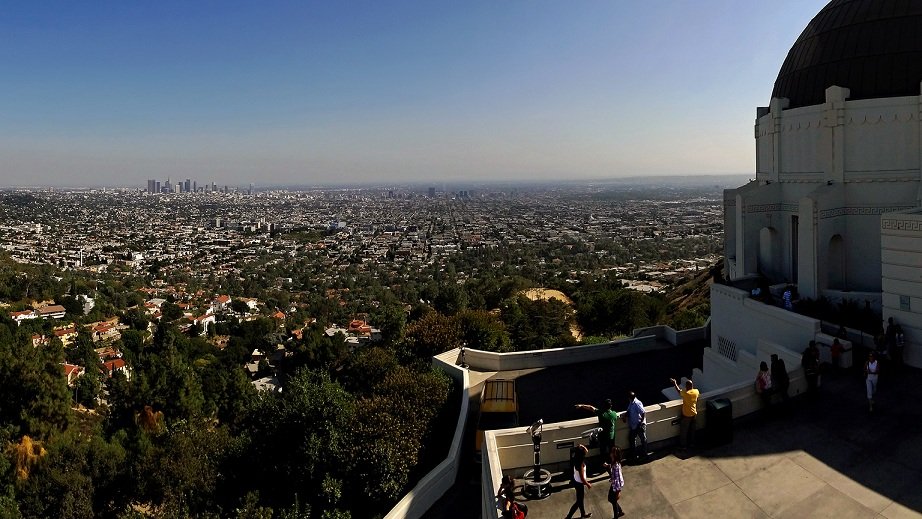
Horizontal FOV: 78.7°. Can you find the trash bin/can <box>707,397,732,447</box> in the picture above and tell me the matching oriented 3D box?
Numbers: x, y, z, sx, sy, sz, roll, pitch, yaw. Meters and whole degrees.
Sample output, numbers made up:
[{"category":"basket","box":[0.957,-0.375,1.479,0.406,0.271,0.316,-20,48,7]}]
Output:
[{"category":"trash bin/can","box":[6.341,3.983,13.851,0.697,1.032,0.388,-6,12,-11]}]

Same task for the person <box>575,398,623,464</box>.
[{"category":"person","box":[3.364,4.247,13.801,1.518,1.537,0.480,-7,29,5]}]

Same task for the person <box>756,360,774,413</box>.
[{"category":"person","box":[7.794,3.215,14.385,0.382,1.122,0.461,4,14,30]}]

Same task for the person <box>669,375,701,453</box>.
[{"category":"person","box":[5.611,3.723,13.942,0.573,1.694,0.759,1,13,22]}]

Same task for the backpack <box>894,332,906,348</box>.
[{"category":"backpack","box":[11.988,2.180,15.256,0.388,0.430,0.099,-9,13,-25]}]

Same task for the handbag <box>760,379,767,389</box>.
[{"category":"handbag","box":[7.709,3.147,14.251,0.188,0.235,0.056,2,14,26]}]

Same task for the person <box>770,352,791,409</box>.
[{"category":"person","box":[8.253,3.060,14.473,0.437,1.226,0.473,3,14,28]}]

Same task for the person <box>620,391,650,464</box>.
[{"category":"person","box":[4.250,4.026,13.579,0.531,1.587,0.357,0,13,17]}]

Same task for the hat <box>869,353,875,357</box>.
[{"category":"hat","box":[10.430,2.411,14.161,0.157,0.051,0.108,-11,2,10]}]
